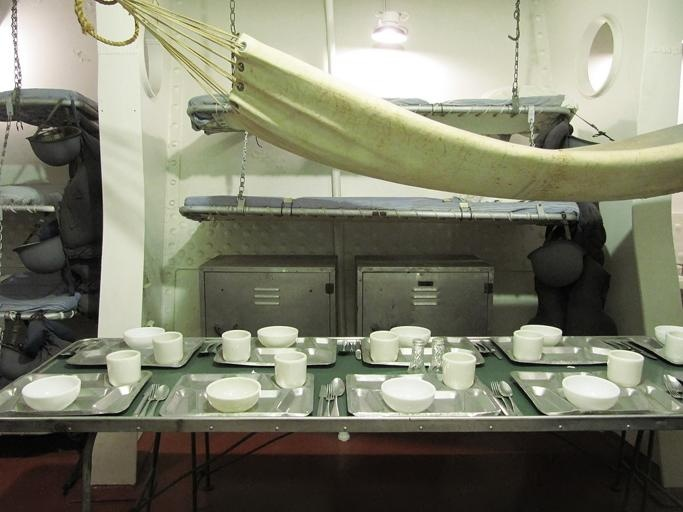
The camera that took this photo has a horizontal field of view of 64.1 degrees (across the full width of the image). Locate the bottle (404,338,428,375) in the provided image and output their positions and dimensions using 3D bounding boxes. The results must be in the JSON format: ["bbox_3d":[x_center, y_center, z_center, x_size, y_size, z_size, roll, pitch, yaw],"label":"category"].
[{"bbox_3d":[0.357,0.470,2.604,0.080,0.156,0.127,-2,2,7],"label":"bottle"}]

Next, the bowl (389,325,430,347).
[{"bbox_3d":[0.349,0.404,2.793,0.127,0.048,0.128,-1,0,0],"label":"bowl"}]

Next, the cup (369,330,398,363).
[{"bbox_3d":[0.205,0.447,2.692,0.132,0.111,0.143,-2,0,0],"label":"cup"}]

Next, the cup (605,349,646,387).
[{"bbox_3d":[1.296,0.515,2.533,0.160,0.139,0.158,-1,1,0],"label":"cup"}]

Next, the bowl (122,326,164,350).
[{"bbox_3d":[-1.002,0.401,2.769,0.138,0.056,0.136,1,2,0],"label":"bowl"}]

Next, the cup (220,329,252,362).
[{"bbox_3d":[-0.516,0.442,2.690,0.143,0.116,0.142,2,0,0],"label":"cup"}]

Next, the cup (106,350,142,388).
[{"bbox_3d":[-0.970,0.516,2.510,0.158,0.129,0.152,-3,3,0],"label":"cup"}]

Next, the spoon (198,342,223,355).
[{"bbox_3d":[-0.665,0.473,2.771,0.046,0.017,0.123,-1,13,0],"label":"spoon"}]

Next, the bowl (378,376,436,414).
[{"bbox_3d":[0.310,0.598,2.382,0.211,0.123,0.268,0,2,32],"label":"bowl"}]

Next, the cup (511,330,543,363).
[{"bbox_3d":[0.902,0.448,2.716,0.150,0.120,0.152,0,2,0],"label":"cup"}]

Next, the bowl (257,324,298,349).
[{"bbox_3d":[-0.333,0.420,2.812,0.202,0.092,0.180,0,2,37],"label":"bowl"}]

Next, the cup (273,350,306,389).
[{"bbox_3d":[-0.238,0.515,2.501,0.143,0.122,0.143,-1,3,0],"label":"cup"}]

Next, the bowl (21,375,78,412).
[{"bbox_3d":[-1.240,0.588,2.353,0.166,0.074,0.166,2,9,0],"label":"bowl"}]

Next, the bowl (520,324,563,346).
[{"bbox_3d":[1.037,0.391,2.851,0.141,0.062,0.138,-1,1,0],"label":"bowl"}]

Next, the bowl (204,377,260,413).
[{"bbox_3d":[-0.462,0.598,2.352,0.237,0.118,0.173,-2,2,-15],"label":"bowl"}]

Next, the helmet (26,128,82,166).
[{"bbox_3d":[-1.890,-0.700,3.663,0.303,0.202,0.313,-1,13,2],"label":"helmet"}]

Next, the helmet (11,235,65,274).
[{"bbox_3d":[-2.002,0.002,3.622,0.272,0.169,0.253,-3,-1,-22],"label":"helmet"}]

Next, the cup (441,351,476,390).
[{"bbox_3d":[0.527,0.515,2.516,0.151,0.112,0.148,1,9,0],"label":"cup"}]
